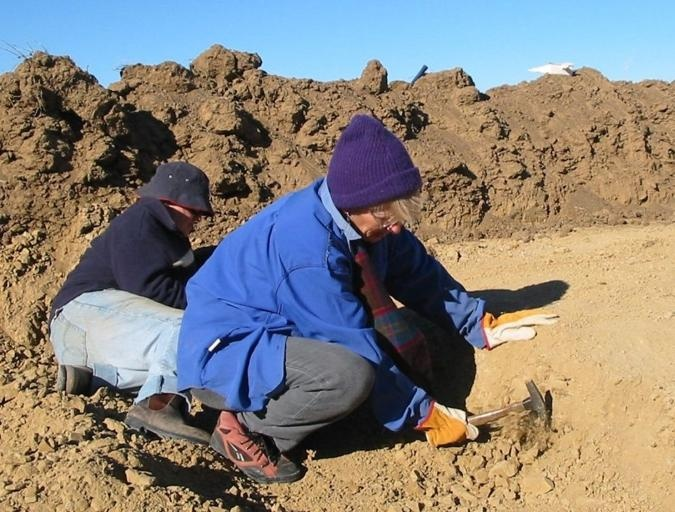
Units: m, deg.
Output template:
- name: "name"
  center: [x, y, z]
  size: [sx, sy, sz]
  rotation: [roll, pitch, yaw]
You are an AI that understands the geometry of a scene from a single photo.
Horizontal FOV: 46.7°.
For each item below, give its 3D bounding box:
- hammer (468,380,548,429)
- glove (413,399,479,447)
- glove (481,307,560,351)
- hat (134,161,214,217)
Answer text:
- name: "hammer"
  center: [1.004, 0.884, 4.551]
  size: [0.564, 0.240, 0.249]
  rotation: [-3, 26, -6]
- name: "glove"
  center: [0.642, 0.975, 4.588]
  size: [0.542, 0.230, 0.237]
  rotation: [-3, 25, -6]
- name: "glove"
  center: [1.103, 0.404, 4.921]
  size: [0.665, 0.238, 0.440]
  rotation: [4, 6, -5]
- name: "hat"
  center: [-1.053, -0.489, 5.210]
  size: [0.496, 0.265, 0.425]
  rotation: [16, 6, -16]
